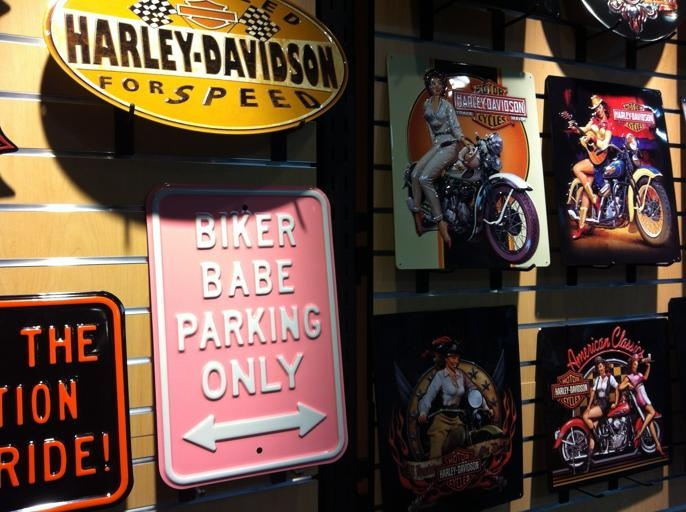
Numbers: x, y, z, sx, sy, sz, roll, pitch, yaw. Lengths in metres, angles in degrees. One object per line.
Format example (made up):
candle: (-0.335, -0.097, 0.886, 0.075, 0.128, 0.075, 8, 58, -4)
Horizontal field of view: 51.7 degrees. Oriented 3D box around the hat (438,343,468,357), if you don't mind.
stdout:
hat: (0.389, 0.343, 2.505, 0.064, 0.045, 0.049, -10, -14, 42)
